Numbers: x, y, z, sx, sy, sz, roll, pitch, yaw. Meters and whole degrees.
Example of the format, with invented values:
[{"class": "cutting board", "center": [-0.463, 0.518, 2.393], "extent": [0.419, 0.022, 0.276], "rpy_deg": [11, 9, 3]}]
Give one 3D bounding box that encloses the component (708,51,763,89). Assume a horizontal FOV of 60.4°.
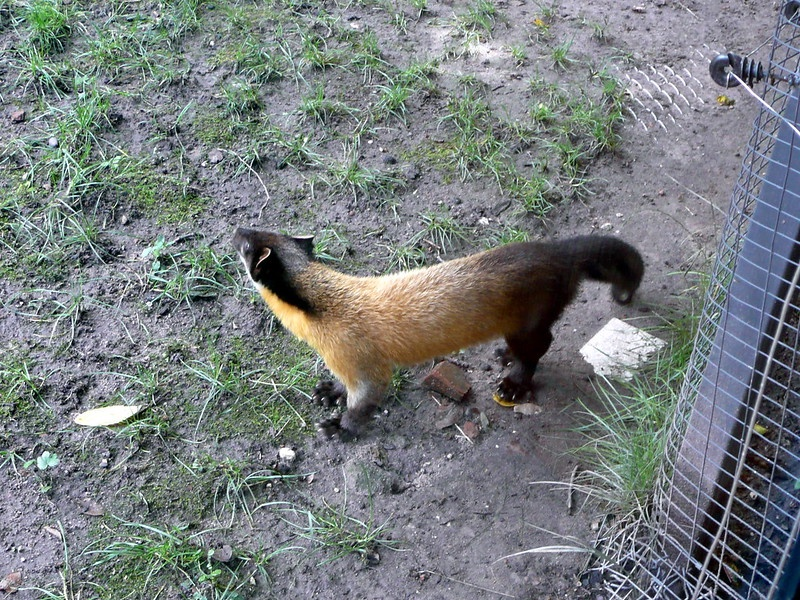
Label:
[{"class": "component", "center": [1.808, -1.256, 3.733], "extent": [0.268, 0.141, 0.170], "rpy_deg": [23, 33, 24]}]
